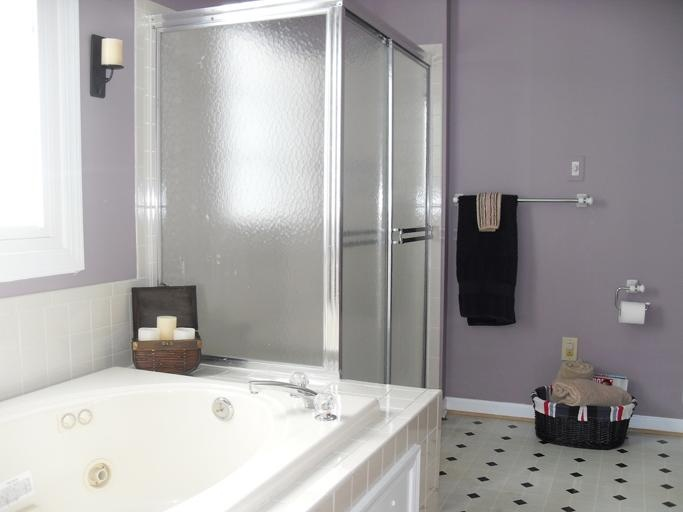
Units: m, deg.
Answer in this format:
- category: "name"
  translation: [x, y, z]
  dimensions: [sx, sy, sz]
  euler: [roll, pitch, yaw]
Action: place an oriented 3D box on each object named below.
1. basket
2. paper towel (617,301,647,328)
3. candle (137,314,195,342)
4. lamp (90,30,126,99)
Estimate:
- category: "basket"
  translation: [1.481, 0.994, 3.380]
  dimensions: [0.448, 0.200, 0.365]
  euler: [-1, 1, 18]
- category: "paper towel"
  translation: [1.850, 0.355, 3.509]
  dimensions: [0.182, 0.179, 0.132]
  euler: [6, 10, 25]
- category: "candle"
  translation: [-0.830, 0.315, 2.577]
  dimensions: [0.155, 0.081, 0.154]
  euler: [2, -4, -45]
- category: "lamp"
  translation: [-1.050, -0.857, 2.473]
  dimensions: [0.130, 0.267, 0.117]
  euler: [6, 9, 17]
